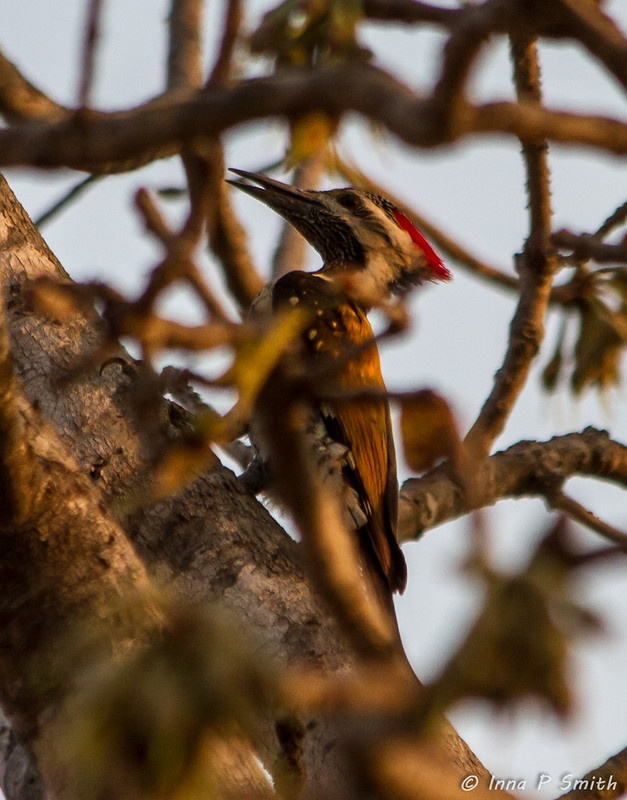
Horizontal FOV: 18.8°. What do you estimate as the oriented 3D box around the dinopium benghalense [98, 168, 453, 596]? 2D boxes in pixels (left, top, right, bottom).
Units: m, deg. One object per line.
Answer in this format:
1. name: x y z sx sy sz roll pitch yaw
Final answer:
1. dinopium benghalense: 0.025 -0.049 4.937 0.727 1.104 0.361 19 -17 -3
